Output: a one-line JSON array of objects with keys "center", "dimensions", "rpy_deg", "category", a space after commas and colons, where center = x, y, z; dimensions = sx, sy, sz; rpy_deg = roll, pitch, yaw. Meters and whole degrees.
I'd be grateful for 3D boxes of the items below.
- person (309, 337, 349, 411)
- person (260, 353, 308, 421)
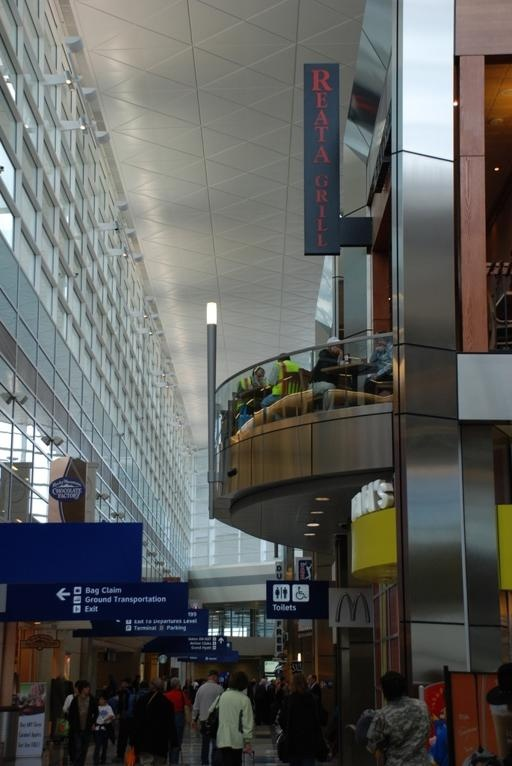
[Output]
[{"center": [1.051, -0.082, 10.566], "dimensions": [0.182, 1.015, 0.617], "rpy_deg": [12, -24, -35], "category": "person"}, {"center": [0.404, 0.150, 11.475], "dimensions": [0.438, 1.174, 0.652], "rpy_deg": [19, -19, -28], "category": "person"}]
